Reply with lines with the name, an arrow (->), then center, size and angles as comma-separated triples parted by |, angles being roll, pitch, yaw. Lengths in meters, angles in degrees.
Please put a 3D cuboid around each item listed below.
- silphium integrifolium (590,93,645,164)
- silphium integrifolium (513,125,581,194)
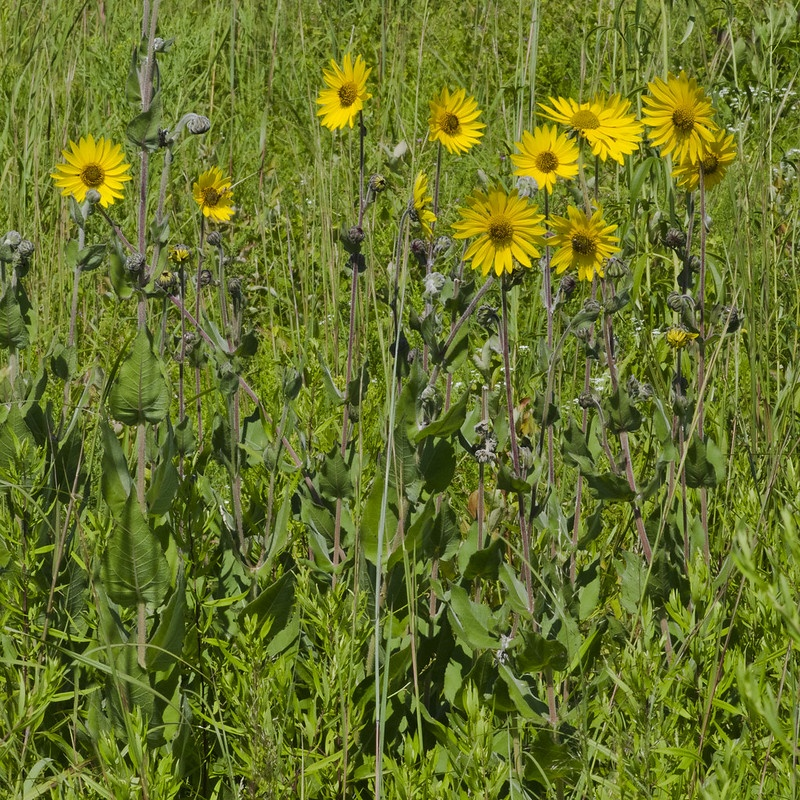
silphium integrifolium -> 0.411, -0.537, 2.486 | 0.094, 0.113, 0.217 | 8, 25, 11
silphium integrifolium -> 0.263, -0.449, 2.378 | 0.119, 0.122, 0.134 | 8, 22, 10
